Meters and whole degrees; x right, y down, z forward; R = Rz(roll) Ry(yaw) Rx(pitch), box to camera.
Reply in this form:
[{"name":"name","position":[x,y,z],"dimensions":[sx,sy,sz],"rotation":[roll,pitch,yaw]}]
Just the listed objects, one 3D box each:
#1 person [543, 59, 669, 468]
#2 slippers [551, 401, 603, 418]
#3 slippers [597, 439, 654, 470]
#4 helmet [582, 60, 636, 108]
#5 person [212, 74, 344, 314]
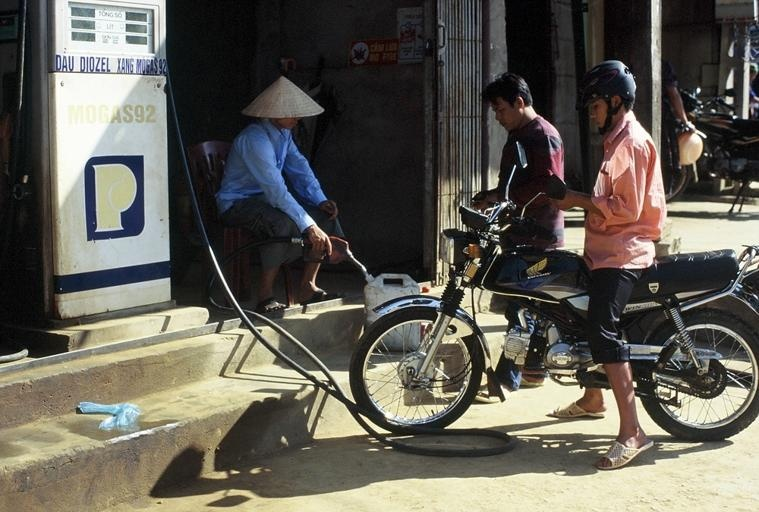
[{"name":"person","position":[1.578,0.032,5.767],"dimensions":[0.688,2.697,0.784],"rotation":[1,9,12]},{"name":"slippers","position":[1.485,1.174,6.388],"dimensions":[0.372,0.099,0.141],"rotation":[2,-5,3]},{"name":"slippers","position":[1.660,1.320,5.664],"dimensions":[0.426,0.112,0.149],"rotation":[-22,10,-20]},{"name":"helmet","position":[1.551,-1.162,5.789],"dimensions":[0.400,0.335,0.297],"rotation":[9,8,1]},{"name":"person","position":[-0.853,-0.523,7.214],"dimensions":[1.067,1.979,1.014],"rotation":[-2,9,-11]}]
